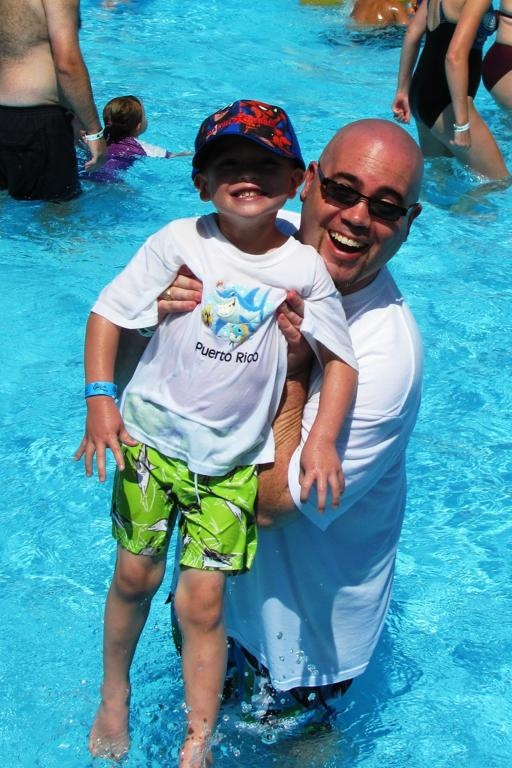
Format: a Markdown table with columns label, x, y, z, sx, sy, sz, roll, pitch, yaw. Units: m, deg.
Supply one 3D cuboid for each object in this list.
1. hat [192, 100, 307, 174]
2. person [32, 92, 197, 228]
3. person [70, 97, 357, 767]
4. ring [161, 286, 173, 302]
| label | x | y | z | sx | sy | sz | roll | pitch | yaw |
| --- | --- | --- | --- | --- | --- | --- | --- | --- | --- |
| hat | -0.020 | -0.564 | 1.642 | 0.254 | 0.173 | 0.221 | 11 | 28 | 12 |
| person | -1.174 | -1.755 | 6.298 | 1.112 | 1.466 | 0.656 | 2 | 31 | -27 |
| person | -0.110 | 0.257 | 1.737 | 0.657 | 1.733 | 0.692 | -3 | 29 | -14 |
| ring | -0.209 | -0.213 | 1.673 | 0.025 | 0.031 | 0.019 | -1 | 11 | -4 |
